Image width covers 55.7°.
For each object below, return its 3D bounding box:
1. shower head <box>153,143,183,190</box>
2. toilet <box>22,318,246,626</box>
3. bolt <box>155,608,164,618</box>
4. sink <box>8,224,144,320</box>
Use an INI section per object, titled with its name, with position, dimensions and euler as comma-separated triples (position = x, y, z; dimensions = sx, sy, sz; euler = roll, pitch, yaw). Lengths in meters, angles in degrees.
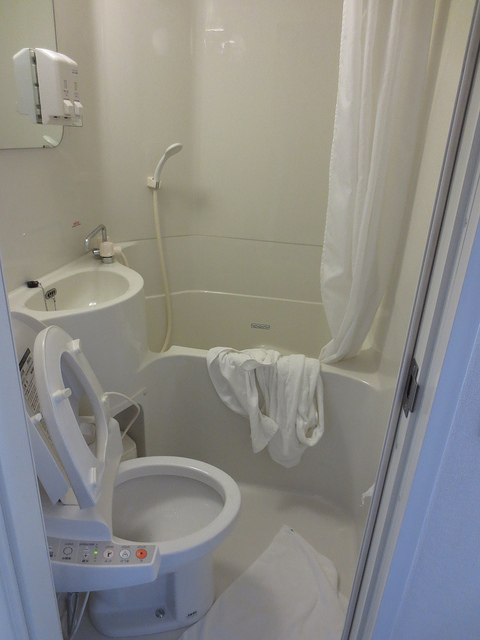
[shower head]
position = -0.360, -0.768, 2.248
dimensions = 0.145, 0.231, 0.148
euler = 0, 12, -8
[toilet]
position = -0.289, 0.437, 1.209
dimensions = 0.342, 0.837, 0.432
euler = -6, 13, -2
[bolt]
position = -0.234, 0.854, 1.327
dimensions = 0.026, 0.009, 0.022
euler = -1, 15, -11
[sink]
position = -0.580, -0.180, 1.681
dimensions = 0.419, 0.292, 0.653
euler = 7, 15, 18
